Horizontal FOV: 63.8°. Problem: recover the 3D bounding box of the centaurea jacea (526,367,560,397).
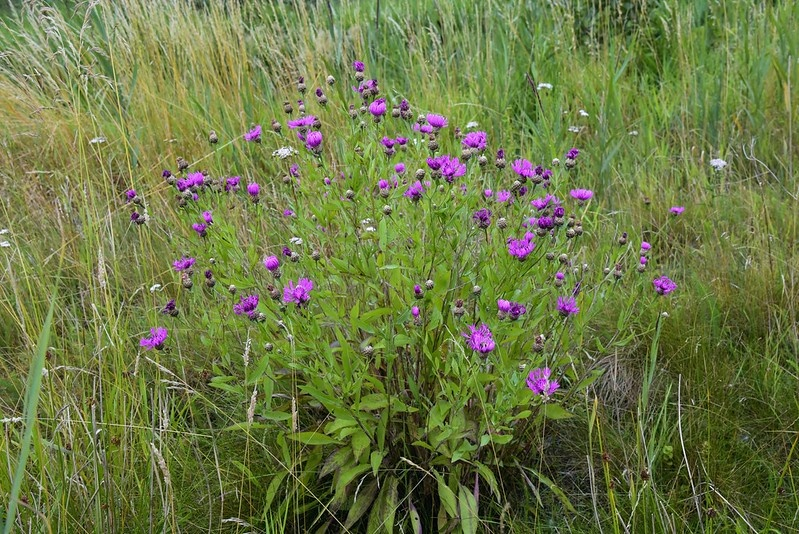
[{"bbox_3d":[0.606,0.497,2.740,0.117,0.089,0.135,-8,30,-10],"label":"centaurea jacea"}]
